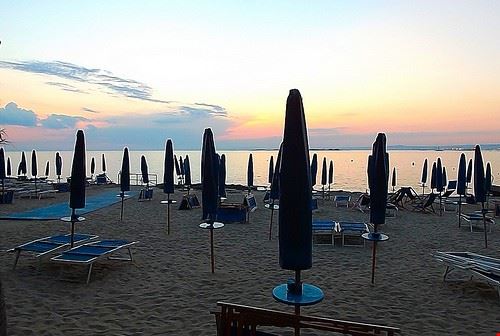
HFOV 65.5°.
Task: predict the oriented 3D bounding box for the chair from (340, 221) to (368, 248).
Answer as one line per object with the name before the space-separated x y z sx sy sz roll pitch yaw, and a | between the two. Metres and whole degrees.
chair | 4.724 3.003 17.887 1.252 0.894 2.025 0 0 12

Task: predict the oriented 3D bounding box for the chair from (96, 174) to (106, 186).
chair | -12.906 1.021 33.821 0.885 0.923 2.522 0 0 -21

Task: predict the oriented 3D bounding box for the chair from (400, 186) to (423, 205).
chair | 10.838 1.941 26.203 1.705 1.373 0.944 -11 11 -31

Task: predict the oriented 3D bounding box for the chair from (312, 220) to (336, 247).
chair | 3.364 2.942 17.790 1.024 0.900 1.442 -2 -2 15

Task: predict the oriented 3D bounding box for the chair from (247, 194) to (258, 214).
chair | 0.104 2.142 22.544 0.411 0.732 1.091 -14 -1 14

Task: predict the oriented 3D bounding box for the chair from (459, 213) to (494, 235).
chair | 11.478 2.846 19.757 0.970 0.464 1.875 -1 -3 6

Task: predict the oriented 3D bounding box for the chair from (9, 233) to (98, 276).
chair | -7.667 3.382 15.818 1.471 0.728 2.901 2 0 9

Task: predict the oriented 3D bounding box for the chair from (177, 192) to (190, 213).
chair | -3.710 2.044 22.769 0.795 1.085 0.953 7 6 22

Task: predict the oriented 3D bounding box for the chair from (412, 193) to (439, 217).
chair | 10.593 2.149 23.430 1.212 1.366 1.678 0 -2 -25
